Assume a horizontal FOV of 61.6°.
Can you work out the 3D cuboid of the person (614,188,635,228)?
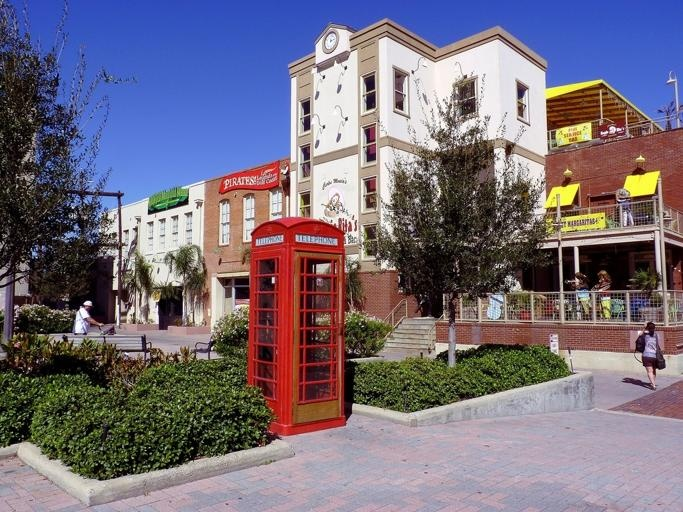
[{"bbox_3d":[10.775,-1.824,21.647,0.599,1.418,2.200,6,7,26],"label":"person"}]

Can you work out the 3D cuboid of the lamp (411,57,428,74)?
[{"bbox_3d":[3.714,-9.027,27.158,0.254,1.034,1.345,7,7,35],"label":"lamp"}]

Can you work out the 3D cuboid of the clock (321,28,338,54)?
[{"bbox_3d":[-0.527,-10.555,28.095,0.212,1.159,1.142,-2,8,-37],"label":"clock"}]

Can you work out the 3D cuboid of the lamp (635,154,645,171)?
[{"bbox_3d":[13.083,-4.091,25.013,0.403,0.770,0.617,6,7,27],"label":"lamp"}]
